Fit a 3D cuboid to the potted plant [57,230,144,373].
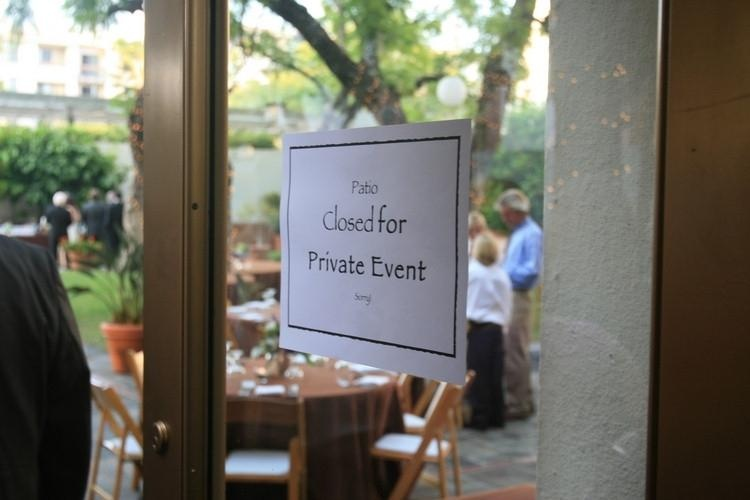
[{"bbox_3d":[-0.862,0.163,2.412,0.378,0.438,0.364,0,3,-8],"label":"potted plant"}]
